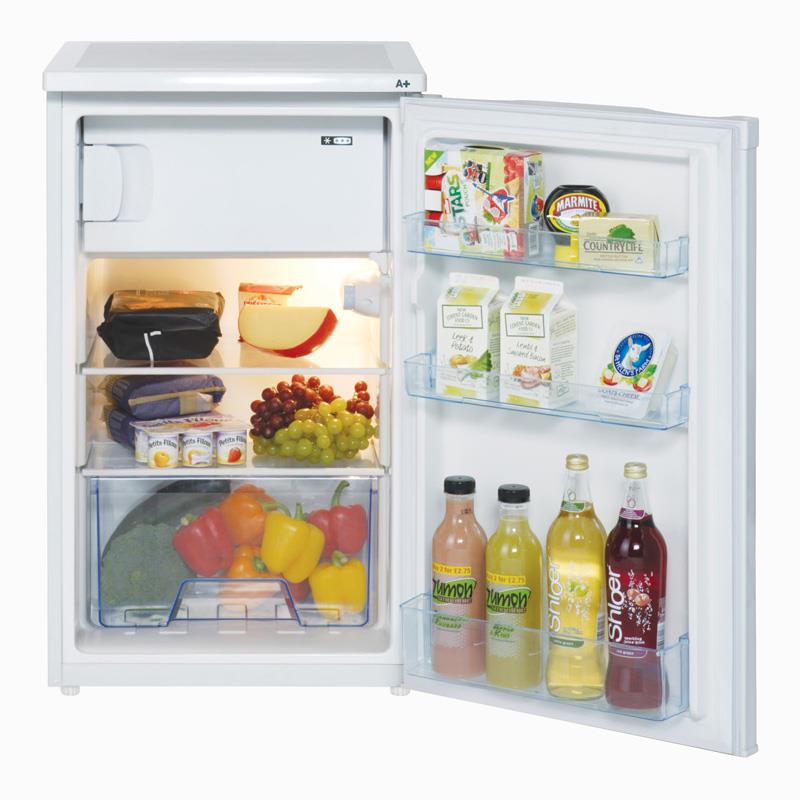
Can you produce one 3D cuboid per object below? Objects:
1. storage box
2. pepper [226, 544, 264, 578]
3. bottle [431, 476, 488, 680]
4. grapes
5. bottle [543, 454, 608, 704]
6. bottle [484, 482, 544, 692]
[{"bbox_3d":[-0.535,0.409,2.523,0.805,0.414,0.406,6,-14,-34],"label":"storage box"},{"bbox_3d":[-0.387,0.409,2.415,0.083,0.090,0.073,8,-15,-7],"label":"pepper"},{"bbox_3d":[0.130,0.398,2.117,0.124,0.452,0.201,-1,1,2],"label":"bottle"},{"bbox_3d":[-0.224,0.054,2.302,0.224,0.133,0.274,0,3,-3],"label":"grapes"},{"bbox_3d":[0.366,0.371,1.970,0.123,0.519,0.216,0,1,9],"label":"bottle"},{"bbox_3d":[0.246,0.406,2.058,0.125,0.442,0.216,0,1,7],"label":"bottle"}]
